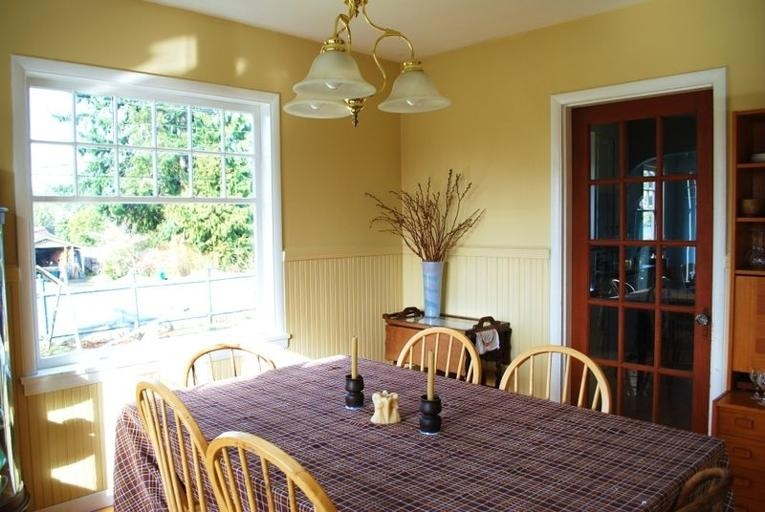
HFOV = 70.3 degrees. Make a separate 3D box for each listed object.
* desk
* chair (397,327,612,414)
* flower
[{"bbox_3d":[0.718,0.850,5.019,1.149,0.970,0.653,-11,-6,20],"label":"desk"},{"bbox_3d":[0.910,0.806,3.833,0.250,0.506,0.839,2,-2,-40],"label":"chair"},{"bbox_3d":[0.442,-0.207,5.373,0.786,0.669,1.162,-4,-23,13],"label":"flower"}]
